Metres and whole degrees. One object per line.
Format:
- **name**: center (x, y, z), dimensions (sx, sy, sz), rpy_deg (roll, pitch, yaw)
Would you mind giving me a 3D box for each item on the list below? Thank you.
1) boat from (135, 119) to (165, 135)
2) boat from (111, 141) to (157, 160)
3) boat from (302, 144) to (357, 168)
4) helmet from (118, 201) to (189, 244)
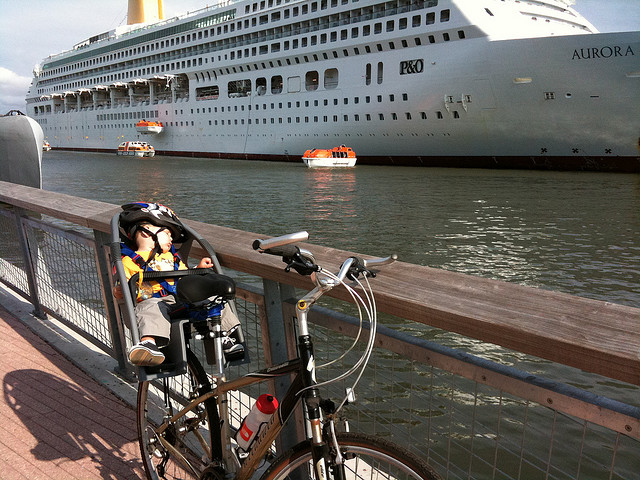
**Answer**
- **boat**: center (-18.732, -12.348, 53.483), dimensions (2.084, 1.076, 2.538), rpy_deg (-8, 12, -39)
- **boat**: center (-21.343, -10.304, 55.835), dimensions (6.286, 1.213, 2.988), rpy_deg (6, 12, 34)
- **boat**: center (0.771, -6.427, 37.490), dimensions (3.577, 1.114, 1.963), rpy_deg (-2, 13, -8)
- **helmet**: center (-0.928, -0.138, 2.627), dimensions (0.395, 0.128, 0.233), rpy_deg (5, -5, -8)
